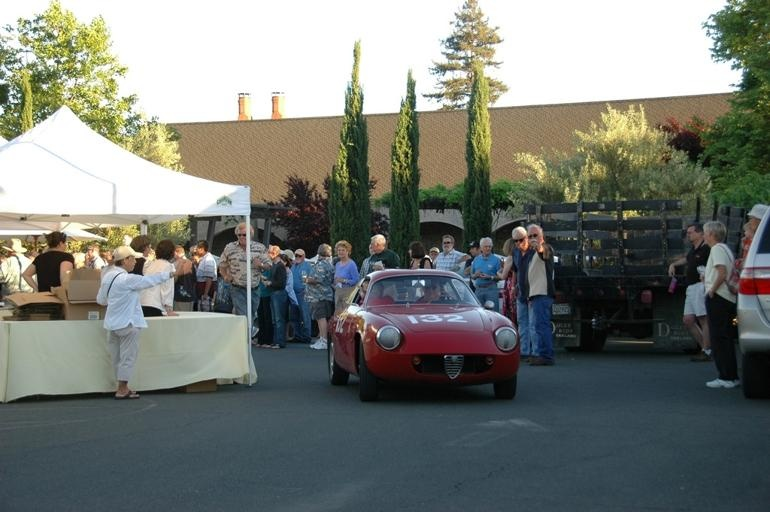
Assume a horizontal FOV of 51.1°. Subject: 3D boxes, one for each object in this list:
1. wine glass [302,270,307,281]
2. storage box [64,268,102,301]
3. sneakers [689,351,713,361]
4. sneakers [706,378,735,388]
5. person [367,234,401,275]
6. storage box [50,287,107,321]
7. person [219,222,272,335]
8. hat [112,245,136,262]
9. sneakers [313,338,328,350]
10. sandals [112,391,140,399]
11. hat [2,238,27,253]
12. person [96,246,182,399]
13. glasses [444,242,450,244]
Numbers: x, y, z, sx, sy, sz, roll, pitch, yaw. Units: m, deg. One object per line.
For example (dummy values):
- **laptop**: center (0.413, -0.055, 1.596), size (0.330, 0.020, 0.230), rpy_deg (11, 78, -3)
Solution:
- **wine glass**: center (-1.888, 0.482, 19.068), size (0.187, 0.324, 0.097), rpy_deg (-1, 1, 0)
- **storage box**: center (-4.594, 0.456, 12.227), size (0.451, 0.519, 0.473), rpy_deg (2, -4, -30)
- **sneakers**: center (6.263, 1.963, 15.868), size (0.407, 0.214, 0.184), rpy_deg (0, -2, 15)
- **sneakers**: center (5.323, 2.011, 12.660), size (0.395, 0.204, 0.159), rpy_deg (2, -2, 7)
- **person**: center (-0.041, 0.037, 16.403), size (0.804, 0.914, 0.459), rpy_deg (-8, 1, 35)
- **storage box**: center (-4.642, 0.665, 12.330), size (0.504, 0.372, 0.539), rpy_deg (0, 4, -18)
- **person**: center (-2.696, 0.600, 15.681), size (0.833, 2.370, 0.746), rpy_deg (-5, 11, -32)
- **hat**: center (-3.960, -0.043, 12.207), size (0.279, 0.167, 0.205), rpy_deg (-7, 9, -26)
- **sneakers**: center (-1.533, 2.068, 18.816), size (0.164, 0.226, 0.427), rpy_deg (4, -4, -44)
- **sandals**: center (-3.891, 2.113, 12.133), size (0.308, 0.146, 0.150), rpy_deg (-1, -1, -8)
- **hat**: center (-10.754, -0.297, 23.297), size (0.486, 0.247, 0.582), rpy_deg (9, -7, -16)
- **person**: center (-3.870, 0.993, 12.151), size (0.900, 2.052, 0.625), rpy_deg (-1, 0, -22)
- **glasses**: center (1.466, -0.314, 18.948), size (0.173, 0.054, 0.096), rpy_deg (-2, -1, 39)
